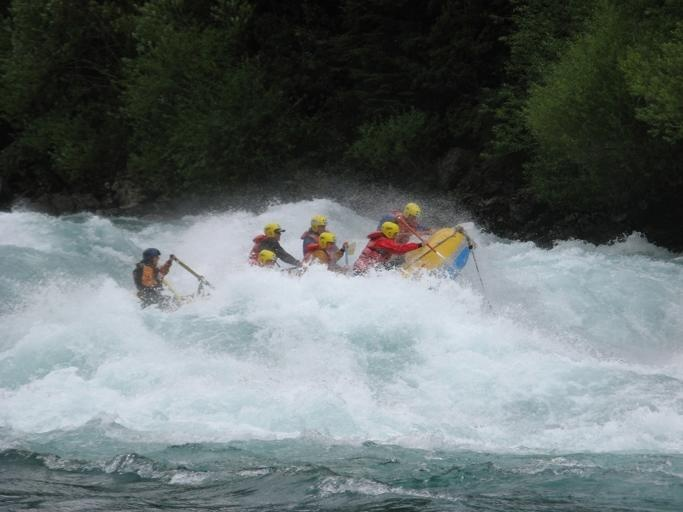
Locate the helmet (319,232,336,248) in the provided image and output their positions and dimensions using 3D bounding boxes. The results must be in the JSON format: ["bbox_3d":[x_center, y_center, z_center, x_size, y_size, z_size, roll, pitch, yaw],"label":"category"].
[{"bbox_3d":[-0.414,-0.437,27.660,0.479,0.353,0.334,-21,9,19],"label":"helmet"}]

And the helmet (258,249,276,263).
[{"bbox_3d":[-1.976,0.011,27.517,0.454,0.285,0.299,-4,7,-2],"label":"helmet"}]

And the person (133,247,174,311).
[{"bbox_3d":[-4.921,0.554,27.073,0.953,1.722,1.248,7,-18,-11],"label":"person"}]

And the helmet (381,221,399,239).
[{"bbox_3d":[1.272,-0.700,27.741,0.448,0.614,0.552,2,-18,4],"label":"helmet"}]

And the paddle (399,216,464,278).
[{"bbox_3d":[2.552,-0.243,27.635,0.986,0.638,1.994,31,41,30],"label":"paddle"}]

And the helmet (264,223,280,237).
[{"bbox_3d":[-1.879,-0.700,28.563,0.469,0.317,0.315,18,-1,0],"label":"helmet"}]

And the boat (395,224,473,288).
[{"bbox_3d":[2.416,0.006,27.606,2.185,0.690,1.047,-28,48,-36],"label":"boat"}]

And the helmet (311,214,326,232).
[{"bbox_3d":[-0.652,-0.888,28.847,0.521,0.484,0.408,3,7,23],"label":"helmet"}]
